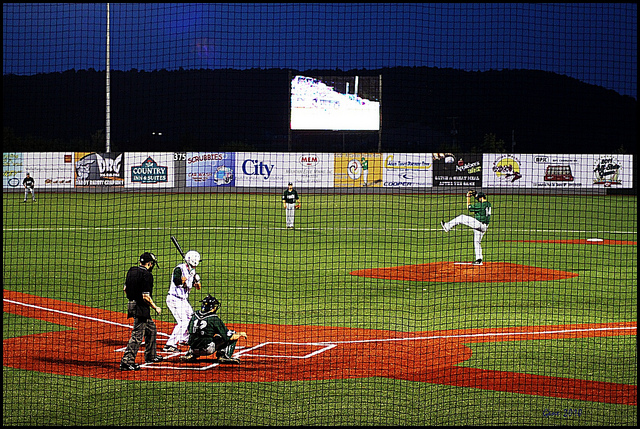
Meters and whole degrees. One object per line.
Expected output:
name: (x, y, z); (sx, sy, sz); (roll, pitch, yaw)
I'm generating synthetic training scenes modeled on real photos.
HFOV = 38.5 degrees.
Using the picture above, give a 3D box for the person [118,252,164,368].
person: (-5.180, 2.805, 26.638); (1.041, 3.233, 1.267); (5, 13, 19)

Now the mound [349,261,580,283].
mound: (5.438, 2.153, 33.862); (7.476, 0.242, 2.724); (1, 12, 0)
